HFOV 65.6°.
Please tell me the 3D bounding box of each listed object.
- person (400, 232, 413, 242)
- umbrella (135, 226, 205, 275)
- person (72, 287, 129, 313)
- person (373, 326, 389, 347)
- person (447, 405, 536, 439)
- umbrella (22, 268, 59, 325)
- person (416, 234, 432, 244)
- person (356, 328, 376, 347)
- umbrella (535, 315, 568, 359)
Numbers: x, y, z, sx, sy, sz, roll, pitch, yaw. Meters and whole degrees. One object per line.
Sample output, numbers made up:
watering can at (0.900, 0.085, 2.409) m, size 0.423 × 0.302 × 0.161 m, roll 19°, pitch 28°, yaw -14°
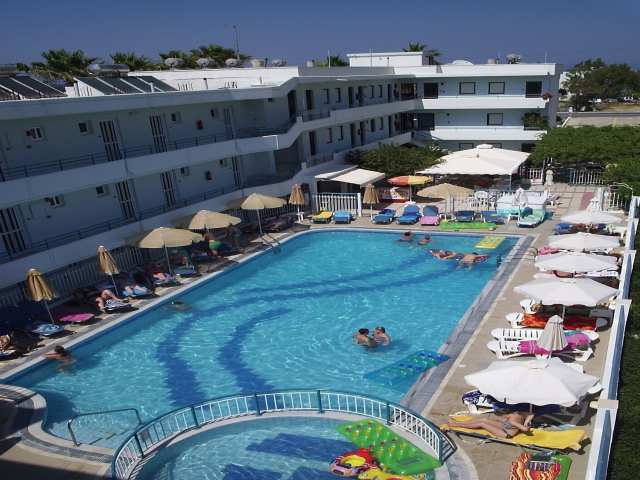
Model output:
person at (5.358, -0.233, 30.251) m, size 0.711 × 0.225 × 0.788 m, roll 1°, pitch 16°, yaw 8°
umbrella at (-7.514, 0.446, 26.313) m, size 3.958 × 2.131 × 2.719 m, roll 4°, pitch 30°, yaw -1°
person at (-10.361, 2.832, 23.453) m, size 2.583 × 0.549 × 1.352 m, roll 7°, pitch 15°, yaw 31°
person at (2.404, 3.788, 19.605) m, size 1.061 × 0.631 × 0.556 m, roll -2°, pitch 19°, yaw 10°
person at (4.850, 5.156, 14.101) m, size 1.823 × 0.335 × 0.918 m, roll 1°, pitch 11°, yaw 17°
umbrella at (-12.243, 2.418, 21.766) m, size 0.880 × 2.700 × 2.207 m, roll -18°, pitch 24°, yaw -28°
person at (6.370, -0.065, 29.482) m, size 0.709 × 0.278 × 0.888 m, roll 18°, pitch 31°, yaw 39°
person at (1.779, 3.827, 19.464) m, size 0.779 × 0.374 × 0.688 m, roll 3°, pitch 44°, yaw -14°
umbrella at (7.467, 3.203, 15.810) m, size 0.681 × 1.540 × 0.570 m, roll -11°, pitch 23°, yaw -15°
